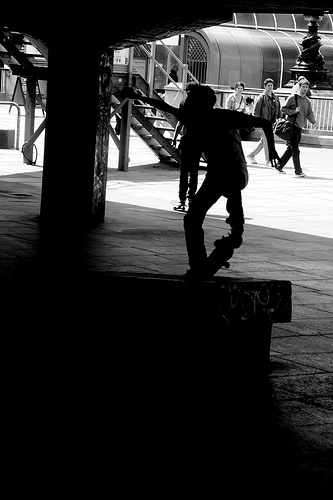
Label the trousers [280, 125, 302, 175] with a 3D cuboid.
[{"bbox_3d":[3.794,-3.040,15.838,0.651,1.377,0.675,15,6,39],"label":"trousers"}]

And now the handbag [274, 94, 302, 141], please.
[{"bbox_3d":[3.719,-4.030,16.236,0.718,1.198,1.203,-5,30,0],"label":"handbag"}]

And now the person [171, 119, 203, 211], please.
[{"bbox_3d":[0.269,-0.948,5.666,0.371,1.294,0.311,1,36,4],"label":"person"}]

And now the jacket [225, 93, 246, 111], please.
[{"bbox_3d":[2.484,-5.381,19.077,0.571,0.590,1.081,15,5,22],"label":"jacket"}]

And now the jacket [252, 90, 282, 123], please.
[{"bbox_3d":[3.265,-4.532,16.586,0.919,0.952,0.498,-3,11,-10],"label":"jacket"}]
